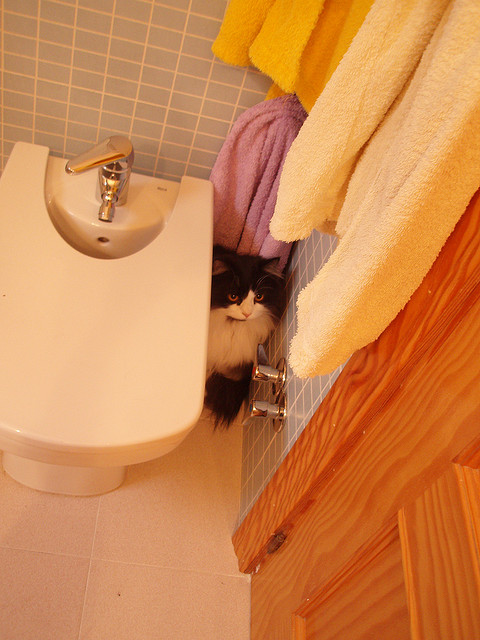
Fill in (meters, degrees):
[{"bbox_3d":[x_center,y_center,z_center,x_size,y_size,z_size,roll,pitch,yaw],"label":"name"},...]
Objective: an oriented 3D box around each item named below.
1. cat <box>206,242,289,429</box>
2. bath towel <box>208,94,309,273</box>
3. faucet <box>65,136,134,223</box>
[{"bbox_3d":[-0.020,0.034,1.196,0.152,0.318,0.153,15,41,-16],"label":"cat"},{"bbox_3d":[0.014,-0.261,1.162,0.133,0.359,0.058,14,45,-21],"label":"bath towel"},{"bbox_3d":[-0.206,-0.218,0.950,0.054,0.131,0.140,41,40,15],"label":"faucet"}]
